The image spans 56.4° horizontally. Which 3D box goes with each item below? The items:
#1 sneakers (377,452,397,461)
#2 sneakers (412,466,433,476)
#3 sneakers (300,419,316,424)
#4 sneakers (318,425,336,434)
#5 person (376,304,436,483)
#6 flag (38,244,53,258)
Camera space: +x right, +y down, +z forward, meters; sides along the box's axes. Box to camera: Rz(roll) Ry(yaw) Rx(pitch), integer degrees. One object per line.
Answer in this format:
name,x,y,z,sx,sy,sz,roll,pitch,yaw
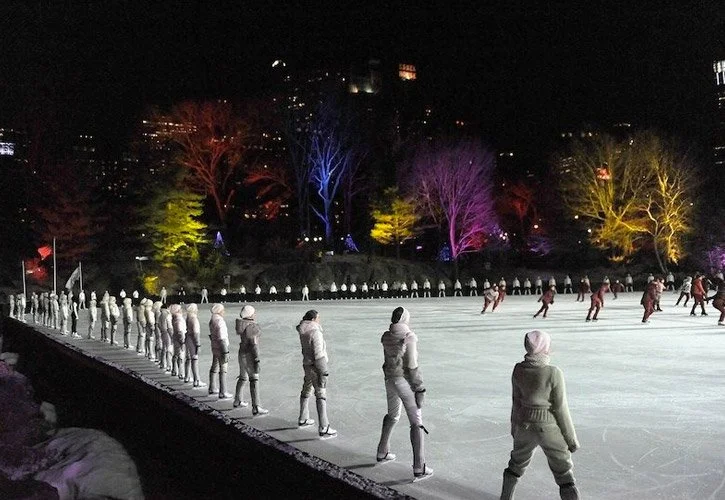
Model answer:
sneakers,0.426,3.685,12.004,0.366,0.140,0.138,-3,5,-29
sneakers,1.024,3.761,11.439,0.380,0.143,0.142,-5,4,-18
sneakers,-1.153,3.615,14.157,0.296,0.111,0.112,-3,3,-16
sneakers,-0.659,3.586,13.439,0.231,0.171,0.405,1,0,39
person,0.713,2.417,11.715,0.927,2.832,1.514,1,1,1
flag,-28.429,0.158,60.766,1.367,1.044,1.202,-14,27,-14
